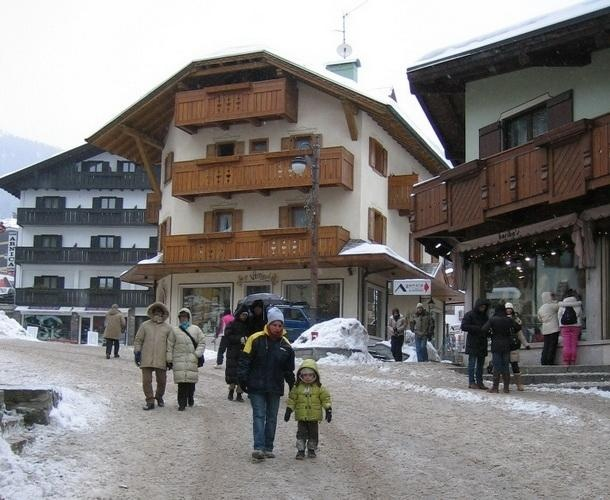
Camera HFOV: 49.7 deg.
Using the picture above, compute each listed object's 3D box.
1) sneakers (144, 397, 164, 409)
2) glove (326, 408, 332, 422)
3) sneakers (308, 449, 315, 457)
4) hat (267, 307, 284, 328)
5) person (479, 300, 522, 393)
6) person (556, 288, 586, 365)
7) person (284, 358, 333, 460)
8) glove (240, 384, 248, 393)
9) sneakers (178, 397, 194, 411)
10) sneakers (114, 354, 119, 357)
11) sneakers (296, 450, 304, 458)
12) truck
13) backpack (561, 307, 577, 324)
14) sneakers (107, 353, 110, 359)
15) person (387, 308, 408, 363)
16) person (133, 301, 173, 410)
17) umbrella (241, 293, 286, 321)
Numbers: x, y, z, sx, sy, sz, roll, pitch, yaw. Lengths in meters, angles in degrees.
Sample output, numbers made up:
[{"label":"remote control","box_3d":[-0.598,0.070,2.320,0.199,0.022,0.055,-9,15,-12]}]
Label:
[{"label":"sneakers","box_3d":[-2.712,2.733,11.607,0.145,0.206,0.488,-8,-26,18]},{"label":"glove","box_3d":[0.289,1.998,7.982,0.056,0.165,0.173,2,-7,-6]},{"label":"sneakers","box_3d":[0.080,2.532,8.227,0.053,0.068,0.156,-1,-21,1]},{"label":"hat","box_3d":[-0.393,0.867,8.517,0.223,0.250,0.310,3,-12,-8]},{"label":"person","box_3d":[4.217,2.083,13.941,0.680,1.833,0.489,-1,-7,17]},{"label":"person","box_3d":[6.500,1.878,16.171,0.486,1.839,0.904,-4,-9,38]},{"label":"person","box_3d":[0.047,1.976,8.222,0.578,1.230,0.560,0,-7,7]},{"label":"glove","box_3d":[-0.777,1.758,8.381,0.086,0.092,0.305,2,-7,-6]},{"label":"sneakers","box_3d":[-2.126,2.725,11.619,0.121,0.251,0.360,3,-1,-1]},{"label":"sneakers","box_3d":[-6.706,3.735,23.278,0.137,0.125,0.084,-6,1,2]},{"label":"sneakers","box_3d":[-0.059,2.527,8.140,0.106,0.114,0.169,1,-7,-1]},{"label":"truck","box_3d":[-1.762,2.779,26.905,3.390,1.749,1.945,-3,-7,16]},{"label":"backpack","box_3d":[6.493,1.604,16.077,0.286,0.525,0.392,0,-6,-28]},{"label":"sneakers","box_3d":[-6.768,3.620,22.506,0.132,0.142,0.136,6,4,24]},{"label":"person","box_3d":[3.255,2.942,23.017,0.556,1.826,1.594,0,-7,9]},{"label":"person","box_3d":[-2.716,1.868,11.781,0.682,1.852,0.585,7,-9,-39]},{"label":"umbrella","box_3d":[-1.529,2.071,23.896,1.469,0.884,1.446,2,-19,-5]}]
